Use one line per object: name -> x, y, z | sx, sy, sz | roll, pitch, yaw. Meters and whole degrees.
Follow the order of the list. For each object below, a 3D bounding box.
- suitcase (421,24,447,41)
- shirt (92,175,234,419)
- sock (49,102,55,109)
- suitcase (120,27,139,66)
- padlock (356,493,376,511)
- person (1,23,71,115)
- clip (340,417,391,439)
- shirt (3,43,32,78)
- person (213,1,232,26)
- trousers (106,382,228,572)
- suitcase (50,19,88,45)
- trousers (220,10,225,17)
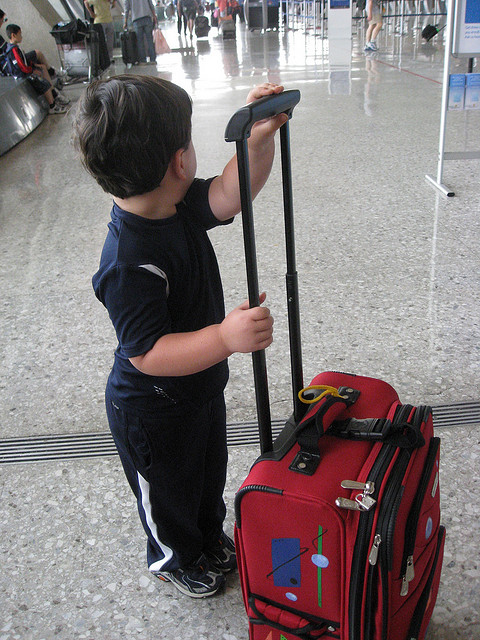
suitcase -> 3.741, -5.648, 10.245 | 0.285, 0.261, 0.548 | 3, 33, 16
shirt -> -0.150, 0.005, 0.903 | 0.231, 0.435, 0.232 | 25, 35, 33
sock -> -2.458, -2.805, 6.790 | 0.034, 0.073, 0.071 | 4, 13, 5
suitcase -> -2.161, -5.287, 10.099 | 0.322, 0.591, 0.665 | -11, 32, -6
padlock -> 0.154, 0.225, 0.648 | 0.024, 0.007, 0.020 | 22, 41, 38
person -> -2.700, -3.208, 6.699 | 0.773, 1.038, 1.155 | -15, 33, -13
clip -> 0.180, 0.157, 0.753 | 0.056, 0.011, 0.033 | 0, 35, 26
shirt -> -2.824, -3.283, 6.572 | 0.249, 0.357, 0.580 | -20, 34, -20
person -> -0.502, -9.539, 16.106 | 0.414, 0.604, 1.221 | -6, 32, 2
trousers -> -0.117, 0.296, 1.102 | 0.179, 0.519, 0.236 | 10, 23, 37
suitcase -> -2.799, -4.700, 8.547 | 0.529, 0.523, 0.353 | 4, 3, 4
trousers -> -0.547, -9.310, 15.821 | 0.183, 0.246, 0.136 | 3, 14, 13
